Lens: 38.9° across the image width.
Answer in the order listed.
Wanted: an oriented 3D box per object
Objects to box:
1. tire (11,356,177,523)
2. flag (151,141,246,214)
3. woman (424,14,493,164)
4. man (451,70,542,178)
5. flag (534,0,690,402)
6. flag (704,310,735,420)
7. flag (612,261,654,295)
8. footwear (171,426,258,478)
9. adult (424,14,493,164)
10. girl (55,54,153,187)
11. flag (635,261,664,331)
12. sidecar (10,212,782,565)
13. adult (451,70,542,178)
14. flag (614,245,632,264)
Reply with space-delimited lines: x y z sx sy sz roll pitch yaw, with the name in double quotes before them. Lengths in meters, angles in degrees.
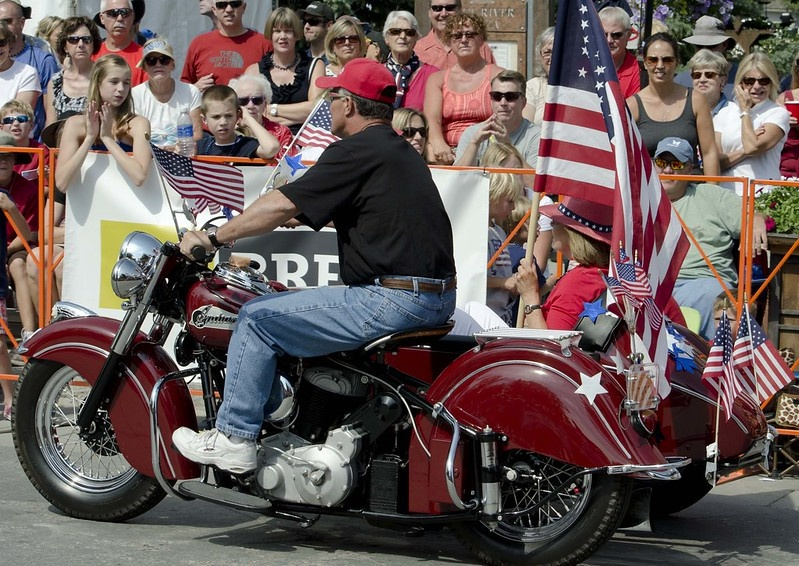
"tire" -1.915 0.977 7.164 0.837 0.938 0.172 10 5 20
"flag" -1.480 -0.760 8.315 0.068 0.648 0.758 -14 -9 37
"woman" 0.587 -1.782 10.476 0.783 1.464 0.691 -12 17 -40
"man" 0.882 -1.319 9.803 0.685 1.092 1.017 3 1 7
"flag" 1.286 -0.540 6.692 0.710 2.232 1.071 -1 9 -11
"flag" 1.891 0.468 6.628 0.179 0.582 0.193 10 13 44
"flag" 1.266 -0.014 6.249 0.065 0.189 0.276 -26 1 42
"footwear" -1.083 0.971 6.822 0.556 0.286 0.215 15 2 18
"adult" 0.619 -1.780 10.467 0.693 1.486 0.758 -7 14 -29
"girl" -2.367 -1.271 9.179 0.682 1.178 0.668 3 0 43
"flag" 1.402 0.076 6.364 0.127 0.130 0.442 29 -21 41
"sidecar" 0.035 0.594 7.715 4.689 2.594 1.953 3 -2 16
"adult" 0.875 -1.331 9.803 0.649 1.057 0.998 4 3 22
"flag" 1.235 -0.167 6.337 0.051 0.110 0.145 -6 -5 25
